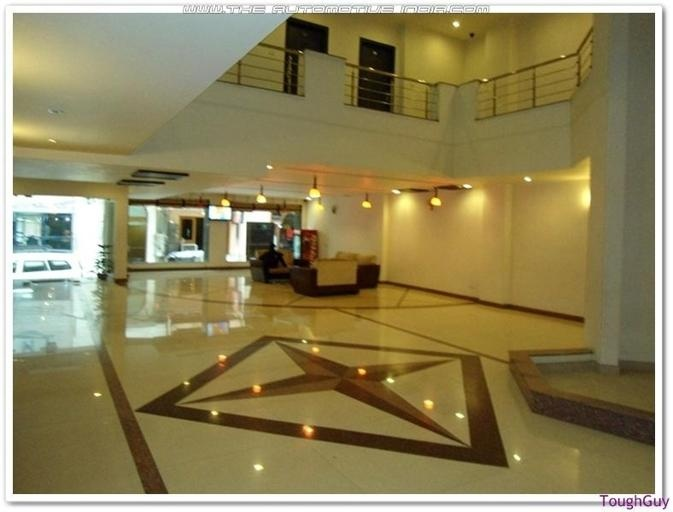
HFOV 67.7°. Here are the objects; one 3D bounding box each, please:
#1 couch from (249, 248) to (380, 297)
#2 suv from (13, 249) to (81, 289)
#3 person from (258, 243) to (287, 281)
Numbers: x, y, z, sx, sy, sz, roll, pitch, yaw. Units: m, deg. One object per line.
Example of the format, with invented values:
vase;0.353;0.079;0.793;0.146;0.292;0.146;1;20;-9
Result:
couch;-0.322;0.402;14.205;3.397;1.049;3.741;-1;2;-37
suv;-8.260;0.302;14.401;1.719;0.788;2.097;-1;2;-33
person;-2.034;0.129;14.220;0.346;0.880;0.535;2;37;-49
